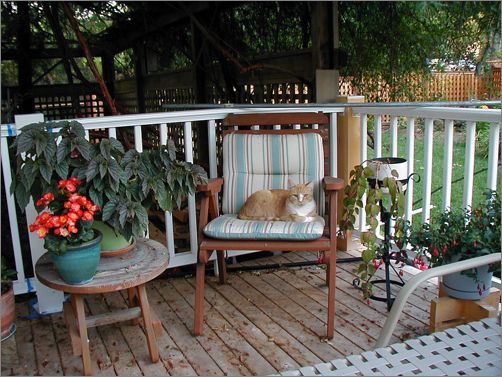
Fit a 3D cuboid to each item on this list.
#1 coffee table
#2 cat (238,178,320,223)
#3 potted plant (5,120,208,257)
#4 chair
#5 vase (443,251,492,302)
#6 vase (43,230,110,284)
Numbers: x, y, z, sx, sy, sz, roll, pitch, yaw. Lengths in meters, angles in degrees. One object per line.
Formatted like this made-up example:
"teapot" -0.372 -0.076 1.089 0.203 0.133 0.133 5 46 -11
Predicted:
"coffee table" -0.817 0.529 2.137 0.627 0.588 0.661 -13 28 -28
"cat" 0.193 0.081 2.436 0.420 0.237 0.264 -3 -4 32
"potted plant" -0.694 -0.109 1.931 0.744 0.496 0.692 23 37 8
"chair" 0.123 0.162 2.388 1.078 1.228 1.117 -7 10 -34
"vase" 1.136 0.503 2.097 0.243 0.245 0.249 -2 6 -3
"vase" -0.839 0.318 1.860 0.209 0.174 0.214 -1 10 -2
